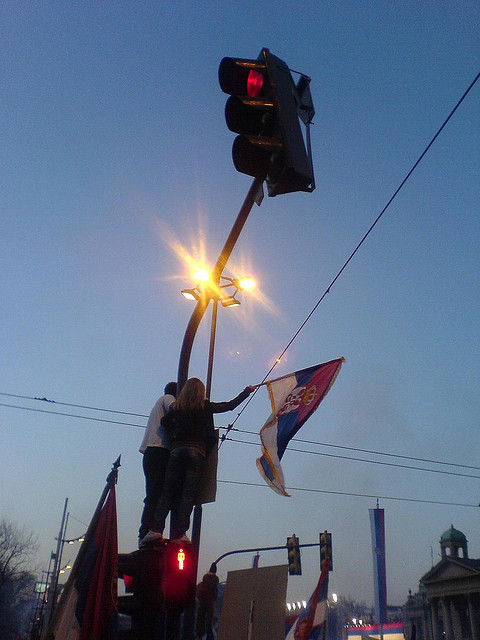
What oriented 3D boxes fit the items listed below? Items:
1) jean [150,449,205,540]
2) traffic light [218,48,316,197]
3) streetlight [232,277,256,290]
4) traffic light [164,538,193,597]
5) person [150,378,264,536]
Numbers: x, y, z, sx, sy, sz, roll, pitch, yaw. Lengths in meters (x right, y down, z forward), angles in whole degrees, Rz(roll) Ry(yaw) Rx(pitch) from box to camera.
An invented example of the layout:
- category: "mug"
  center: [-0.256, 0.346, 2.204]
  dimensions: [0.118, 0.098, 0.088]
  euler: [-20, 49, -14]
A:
- category: "jean"
  center: [-0.605, 1.633, 5.231]
  dimensions: [0.460, 0.846, 0.531]
  euler: [-2, -22, 12]
- category: "traffic light"
  center: [0.203, -1.241, 3.552]
  dimensions: [0.491, 1.137, 0.315]
  euler: [6, -34, -21]
- category: "streetlight"
  center: [0.038, -0.524, 8.355]
  dimensions: [0.331, 0.179, 0.256]
  euler: [23, -31, -32]
- category: "traffic light"
  center: [-0.499, 2.030, 4.555]
  dimensions: [0.227, 0.392, 0.255]
  euler: [6, -22, -7]
- category: "person"
  center: [-0.492, 1.326, 5.466]
  dimensions: [0.755, 1.556, 0.702]
  euler: [-2, -21, 12]
